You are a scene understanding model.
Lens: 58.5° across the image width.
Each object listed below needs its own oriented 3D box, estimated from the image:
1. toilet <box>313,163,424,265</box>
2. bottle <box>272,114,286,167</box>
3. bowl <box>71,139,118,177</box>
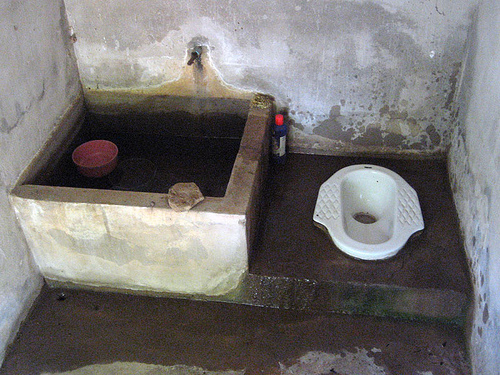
[{"bbox_3d":[0.710,0.181,2.702,0.586,0.247,0.668,4,47,11],"label":"toilet"},{"bbox_3d":[0.194,-0.313,2.946,0.100,0.347,0.098,-1,35,1],"label":"bottle"},{"bbox_3d":[-0.975,-0.183,2.785,0.285,0.149,0.325,4,34,-1],"label":"bowl"}]
